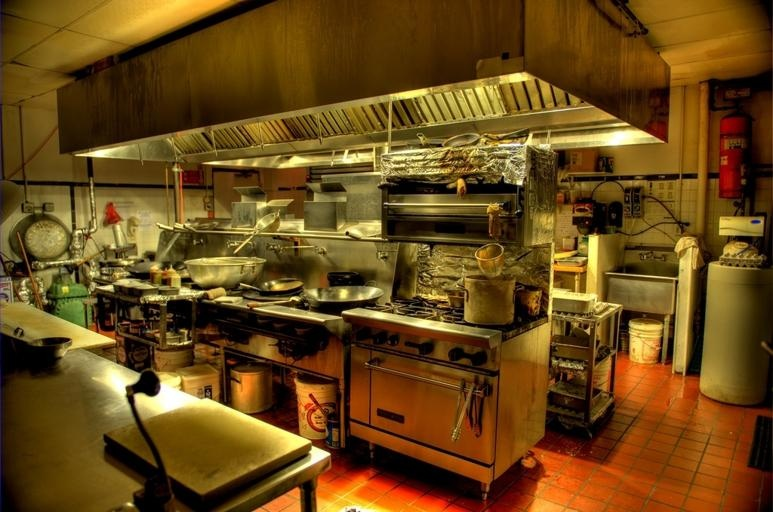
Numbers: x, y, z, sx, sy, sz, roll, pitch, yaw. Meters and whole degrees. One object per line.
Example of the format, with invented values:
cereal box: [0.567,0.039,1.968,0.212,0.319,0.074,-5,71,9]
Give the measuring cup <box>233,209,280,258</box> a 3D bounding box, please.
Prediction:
measuring cup: [-1.448,-0.265,5.994,0.461,0.505,0.391,7,9,32]

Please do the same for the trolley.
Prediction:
trolley: [1.902,1.081,5.440,0.638,0.982,0.770,-7,10,-33]

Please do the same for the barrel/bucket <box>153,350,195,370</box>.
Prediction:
barrel/bucket: [-2.240,1.097,5.723,0.293,0.196,0.279,-1,-1,0]

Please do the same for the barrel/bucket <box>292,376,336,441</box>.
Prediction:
barrel/bucket: [-0.679,1.379,5.079,0.435,0.529,0.388,0,9,-23]

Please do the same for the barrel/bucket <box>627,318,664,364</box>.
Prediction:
barrel/bucket: [3.344,1.087,7.133,0.491,0.485,0.527,-1,9,0]

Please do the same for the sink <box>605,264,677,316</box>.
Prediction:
sink: [3.421,0.430,7.128,0.781,0.445,0.795,5,8,39]

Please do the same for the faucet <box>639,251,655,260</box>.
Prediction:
faucet: [3.602,-0.008,7.508,0.038,0.118,0.175,-5,7,-42]

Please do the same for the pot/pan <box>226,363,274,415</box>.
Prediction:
pot/pan: [-1.356,1.286,5.503,0.447,0.464,0.394,6,9,7]

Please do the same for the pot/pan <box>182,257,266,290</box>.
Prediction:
pot/pan: [-1.638,0.165,5.850,0.904,0.291,0.650,10,5,40]

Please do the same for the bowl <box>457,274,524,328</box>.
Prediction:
bowl: [0.812,0.358,4.256,0.420,0.302,0.427,0,5,0]

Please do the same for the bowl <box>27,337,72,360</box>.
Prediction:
bowl: [-2.385,0.656,3.866,0.261,0.117,0.339,-3,6,-32]

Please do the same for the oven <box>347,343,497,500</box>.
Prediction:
oven: [0.459,1.022,4.728,1.531,1.193,1.040,7,10,34]
